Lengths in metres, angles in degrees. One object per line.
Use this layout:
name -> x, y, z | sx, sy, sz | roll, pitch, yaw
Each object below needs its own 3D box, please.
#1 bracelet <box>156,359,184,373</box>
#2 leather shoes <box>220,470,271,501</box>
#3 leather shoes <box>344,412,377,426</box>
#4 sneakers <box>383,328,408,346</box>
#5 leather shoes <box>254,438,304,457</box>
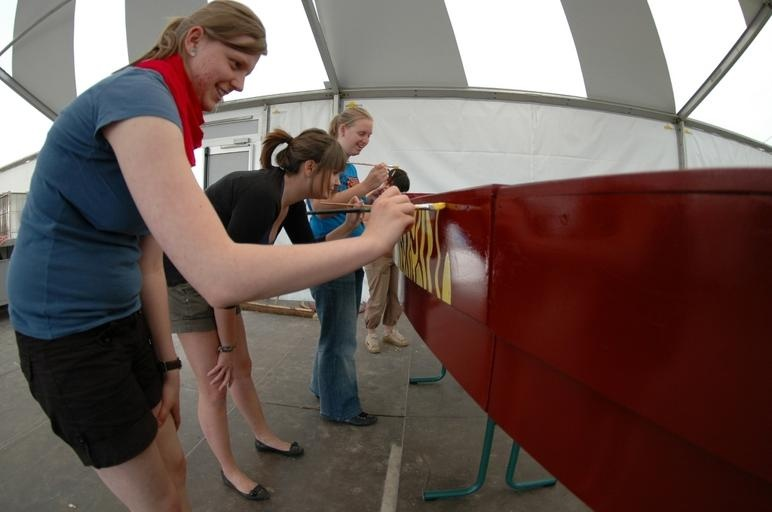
bracelet -> -0.847, 0.426, 1.946 | 0.056, 0.059, 0.058 | -9, -13, 29
leather shoes -> -0.727, 1.186, 2.579 | 0.264, 0.086, 0.101 | 10, 10, 23
leather shoes -> -0.148, 1.018, 3.107 | 0.139, 0.059, 0.089 | -3, -4, 4
sneakers -> 0.072, 0.746, 4.651 | 0.269, 0.125, 0.107 | 7, 10, 31
leather shoes -> -0.618, 1.081, 2.869 | 0.257, 0.101, 0.100 | -1, 1, 3
